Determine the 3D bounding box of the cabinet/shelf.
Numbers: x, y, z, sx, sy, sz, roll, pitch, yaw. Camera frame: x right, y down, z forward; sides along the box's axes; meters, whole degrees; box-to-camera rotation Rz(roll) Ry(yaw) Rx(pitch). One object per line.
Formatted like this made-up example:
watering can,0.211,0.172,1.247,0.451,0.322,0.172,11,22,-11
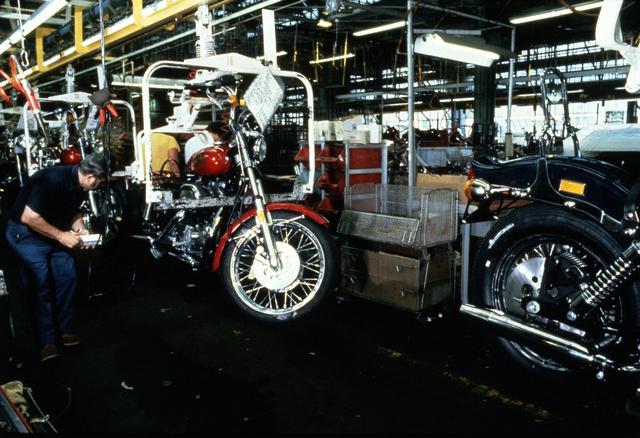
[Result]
cabinet/shelf,0.204,-0.517,7.872,1.421,1.657,1.140,-7,10,-41

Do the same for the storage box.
storage box,0.830,0.273,5.685,1.230,1.257,0.687,7,10,40

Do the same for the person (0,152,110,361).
person,-2.439,0.319,4.911,0.840,1.819,0.586,-4,8,-24
